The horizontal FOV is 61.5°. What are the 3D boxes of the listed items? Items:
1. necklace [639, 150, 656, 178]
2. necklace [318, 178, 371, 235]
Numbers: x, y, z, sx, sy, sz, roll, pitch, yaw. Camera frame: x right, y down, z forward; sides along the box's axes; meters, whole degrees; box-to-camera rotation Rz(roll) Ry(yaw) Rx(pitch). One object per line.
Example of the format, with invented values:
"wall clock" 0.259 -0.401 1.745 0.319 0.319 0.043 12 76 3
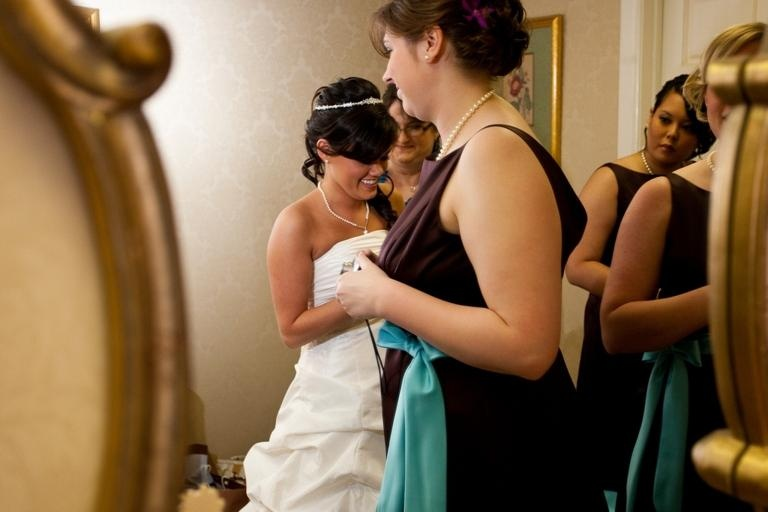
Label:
"necklace" 0.619 -0.217 1.533 0.038 0.050 0.013 -18 -6 -30
"necklace" -0.105 -0.136 1.764 0.129 0.154 0.020 -10 -12 -43
